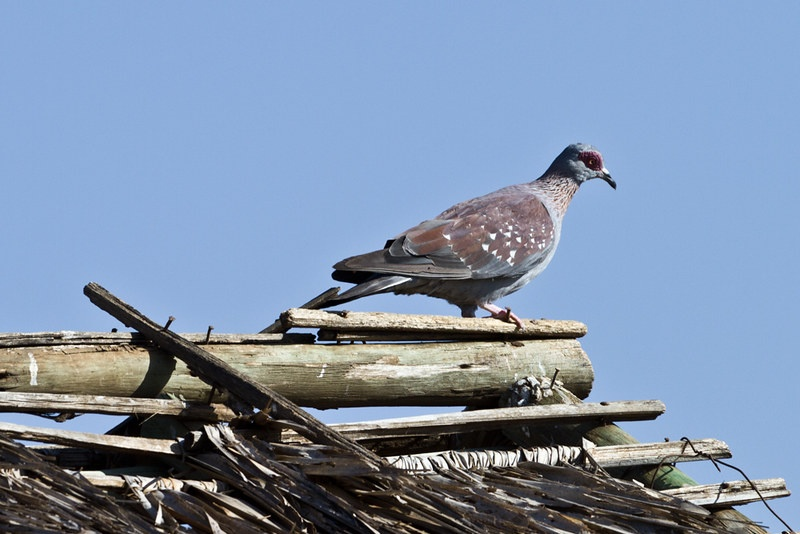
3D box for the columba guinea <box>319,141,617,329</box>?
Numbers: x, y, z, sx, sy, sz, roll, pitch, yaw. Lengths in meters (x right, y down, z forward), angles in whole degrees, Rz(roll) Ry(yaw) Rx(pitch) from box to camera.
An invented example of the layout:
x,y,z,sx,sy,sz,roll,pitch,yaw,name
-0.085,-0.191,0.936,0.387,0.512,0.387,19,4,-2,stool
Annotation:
x,y,z,sx,sy,sz,roll,pitch,yaw,name
0.675,-0.230,14.550,1.932,2.584,0.550,16,-47,-4,columba guinea
